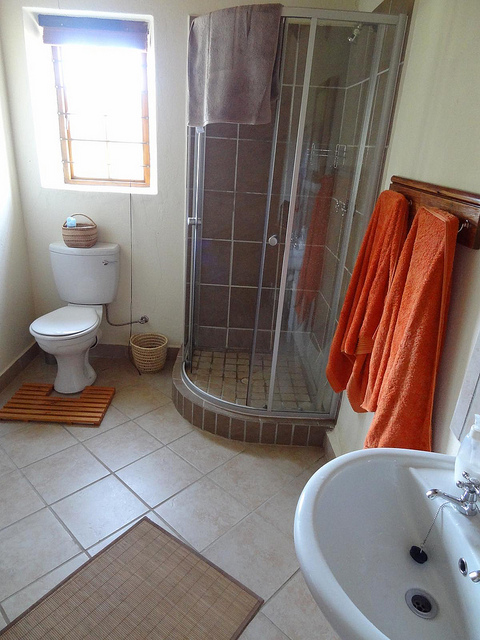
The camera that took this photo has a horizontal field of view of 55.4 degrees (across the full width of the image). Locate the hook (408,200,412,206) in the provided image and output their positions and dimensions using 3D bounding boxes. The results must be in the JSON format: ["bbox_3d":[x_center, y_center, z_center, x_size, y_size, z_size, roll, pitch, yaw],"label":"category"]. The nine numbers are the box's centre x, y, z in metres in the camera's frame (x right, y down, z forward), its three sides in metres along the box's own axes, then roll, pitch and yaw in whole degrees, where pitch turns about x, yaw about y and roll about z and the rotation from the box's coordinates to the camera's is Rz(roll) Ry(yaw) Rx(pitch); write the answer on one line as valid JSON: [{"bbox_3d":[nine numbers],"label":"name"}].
[{"bbox_3d":[0.512,-0.362,1.364,0.008,0.015,0.004,1,9,15],"label":"hook"}]

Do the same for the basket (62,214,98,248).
[{"bbox_3d":[-0.948,-0.540,2.699,0.142,0.177,0.167,2,28,-5],"label":"basket"}]

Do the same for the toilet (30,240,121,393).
[{"bbox_3d":[-0.979,-0.047,2.710,0.338,0.788,0.649,3,18,0],"label":"toilet"}]

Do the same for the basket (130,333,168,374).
[{"bbox_3d":[-0.592,0.178,2.989,0.195,0.223,0.261,0,20,-2],"label":"basket"}]
